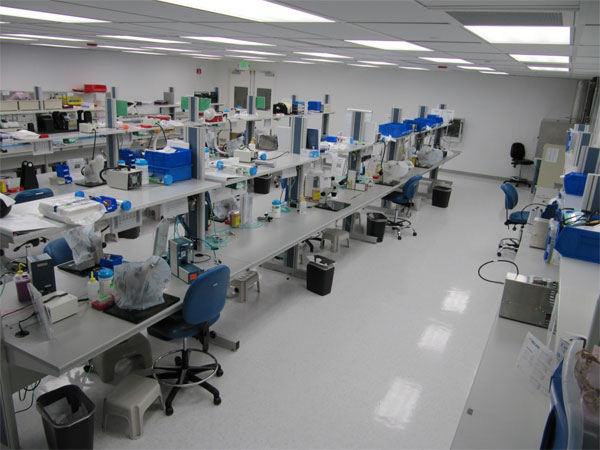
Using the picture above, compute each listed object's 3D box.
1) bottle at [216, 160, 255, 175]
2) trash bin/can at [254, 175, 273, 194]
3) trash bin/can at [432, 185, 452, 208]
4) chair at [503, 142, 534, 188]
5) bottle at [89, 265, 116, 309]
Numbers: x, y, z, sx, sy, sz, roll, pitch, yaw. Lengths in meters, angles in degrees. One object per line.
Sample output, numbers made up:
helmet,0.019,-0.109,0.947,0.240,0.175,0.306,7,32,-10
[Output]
bottle,-0.649,-0.572,4.146,0.492,0.114,0.107,9,14,34
trash bin/can,-0.447,-0.476,5.043,0.243,0.205,0.193,6,27,9
trash bin/can,2.783,-0.566,8.326,0.333,0.396,0.287,14,27,26
chair,5.380,-1.498,10.271,0.562,1.037,0.477,9,19,25
bottle,-1.454,0.467,3.089,0.115,0.300,0.220,15,23,32
